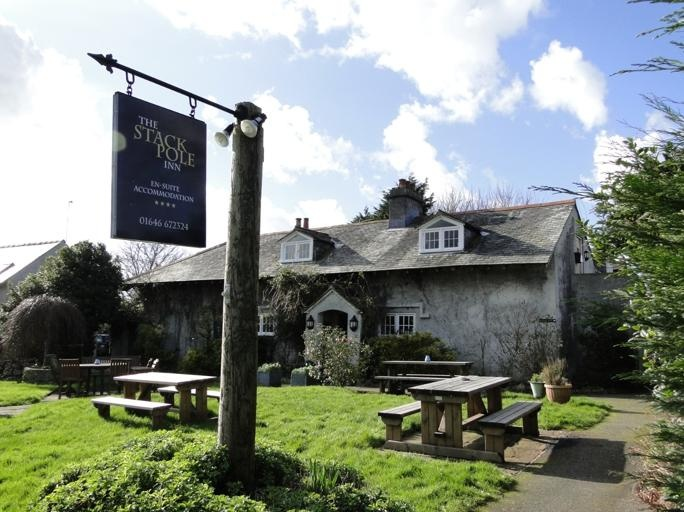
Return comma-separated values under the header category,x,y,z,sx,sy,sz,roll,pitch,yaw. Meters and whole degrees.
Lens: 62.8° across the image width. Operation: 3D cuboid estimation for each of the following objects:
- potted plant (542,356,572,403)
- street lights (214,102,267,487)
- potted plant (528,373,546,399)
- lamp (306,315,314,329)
category,x,y,z,sx,sy,sz,roll,pitch,yaw
potted plant,5.586,3.136,14.175,0.694,1.032,0.657,8,1,-36
street lights,-1.372,0.598,7.594,0.500,4.884,0.488,2,-8,-14
potted plant,5.142,3.455,14.864,0.522,0.393,0.464,13,-8,-39
lamp,-1.141,2.341,19.808,0.309,0.477,0.212,-3,-8,15
